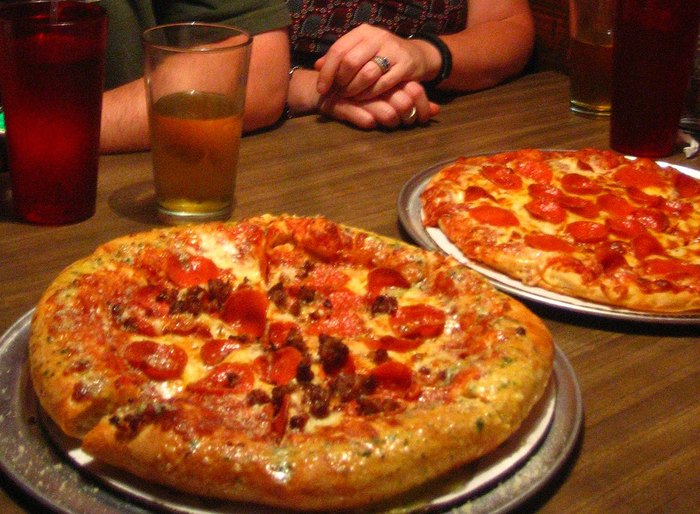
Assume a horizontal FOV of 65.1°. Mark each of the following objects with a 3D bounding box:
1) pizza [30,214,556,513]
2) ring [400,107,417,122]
[{"bbox_3d":[-0.101,0.159,0.749,0.502,0.076,0.456,11,25,5],"label":"pizza"},{"bbox_3d":[0.191,-0.457,1.766,0.045,0.032,0.043,-19,44,20],"label":"ring"}]
